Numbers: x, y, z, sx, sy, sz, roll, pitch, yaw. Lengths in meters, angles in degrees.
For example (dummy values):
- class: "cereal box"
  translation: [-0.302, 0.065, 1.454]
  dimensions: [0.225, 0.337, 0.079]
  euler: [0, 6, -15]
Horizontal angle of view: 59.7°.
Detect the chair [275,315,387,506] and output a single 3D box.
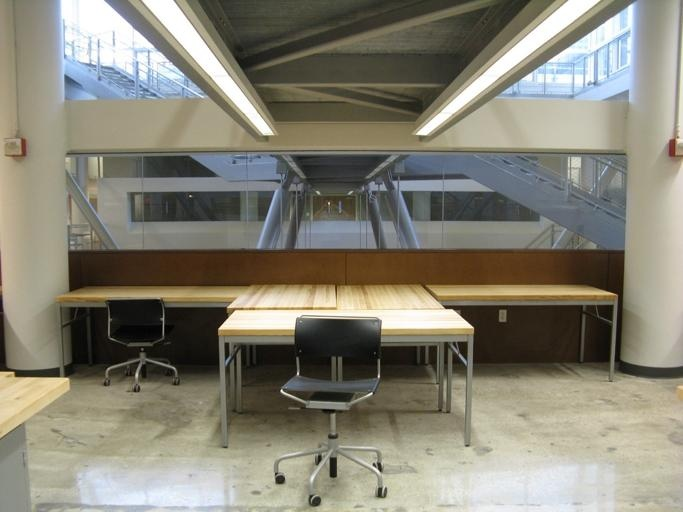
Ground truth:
- class: "chair"
  translation: [-0.020, 1.182, 5.284]
  dimensions: [1.308, 1.674, 1.317]
  euler: [1, -1, 8]
